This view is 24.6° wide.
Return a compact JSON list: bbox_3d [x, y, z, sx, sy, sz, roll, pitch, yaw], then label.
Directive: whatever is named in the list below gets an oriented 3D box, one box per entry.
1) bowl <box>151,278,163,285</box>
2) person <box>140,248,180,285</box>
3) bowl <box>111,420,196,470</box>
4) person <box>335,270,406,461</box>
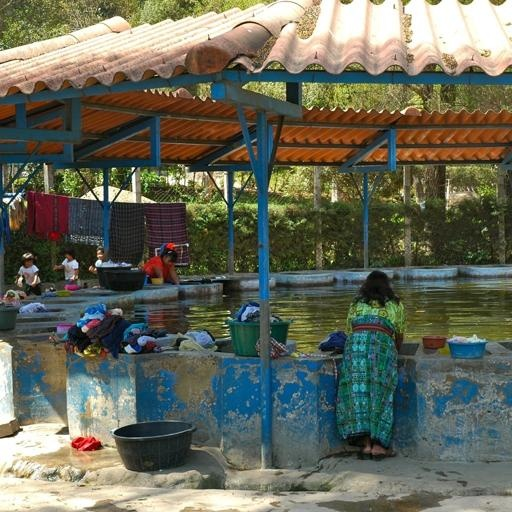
[{"bbox_3d":[-1.613,0.405,18.949,0.119,0.060,0.115,2,2,0],"label":"bowl"},{"bbox_3d":[-1.571,0.144,19.103,0.588,0.730,1.179,-1,10,-5],"label":"person"},{"bbox_3d":[-0.962,1.658,10.444,0.623,0.245,0.646,-6,7,1],"label":"bowl"},{"bbox_3d":[1.014,0.973,10.522,0.538,1.412,0.632,3,11,14],"label":"person"}]
